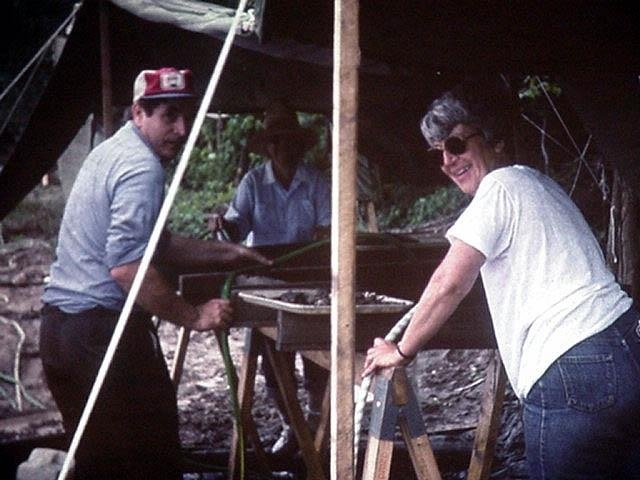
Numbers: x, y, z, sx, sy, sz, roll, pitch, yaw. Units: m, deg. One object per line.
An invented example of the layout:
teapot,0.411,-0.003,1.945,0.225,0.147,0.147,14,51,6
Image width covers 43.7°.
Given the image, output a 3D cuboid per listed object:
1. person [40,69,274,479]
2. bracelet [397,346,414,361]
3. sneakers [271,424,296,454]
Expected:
person,-0.869,0.160,4.214,0.749,2.107,0.967,8,5,26
bracelet,0.393,0.505,3.637,0.013,0.061,0.059,-28,-9,-14
sneakers,-0.249,1.445,5.650,0.137,0.077,0.203,-34,24,26
